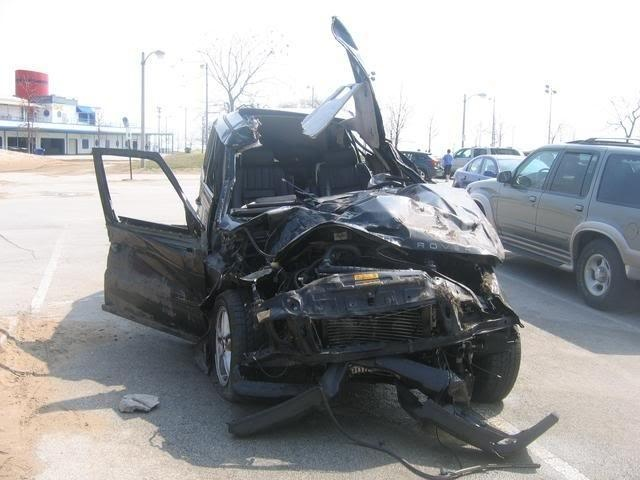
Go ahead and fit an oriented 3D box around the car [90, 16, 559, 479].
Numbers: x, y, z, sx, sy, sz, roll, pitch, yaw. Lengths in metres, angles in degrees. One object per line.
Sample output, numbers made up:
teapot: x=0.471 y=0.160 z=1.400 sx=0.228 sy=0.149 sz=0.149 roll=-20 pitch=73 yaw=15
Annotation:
car: x=-0.493 y=-0.024 z=5.886 sx=3.695 sy=3.088 sz=5.854 roll=-5 pitch=13 yaw=-23
